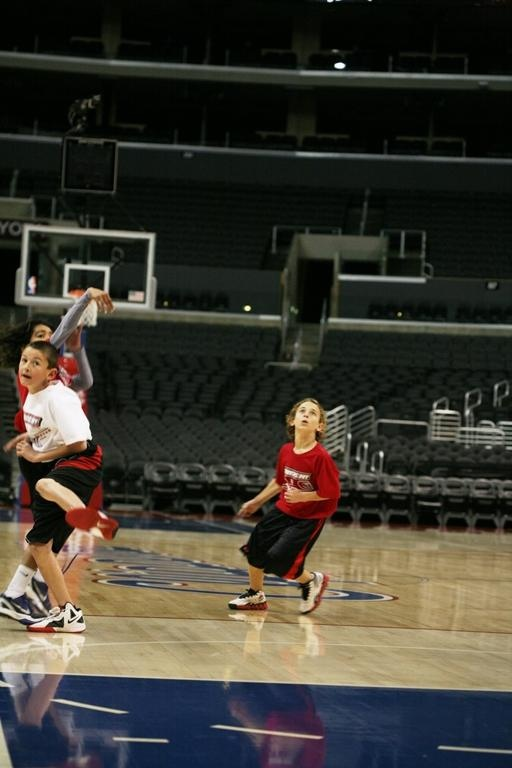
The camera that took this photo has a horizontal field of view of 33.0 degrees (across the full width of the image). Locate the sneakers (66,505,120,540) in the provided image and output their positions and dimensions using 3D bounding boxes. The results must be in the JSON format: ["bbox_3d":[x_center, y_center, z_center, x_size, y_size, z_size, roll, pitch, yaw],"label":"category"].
[{"bbox_3d":[-0.621,0.496,3.163,0.194,0.106,0.075,30,12,4],"label":"sneakers"}]

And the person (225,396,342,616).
[{"bbox_3d":[0.192,0.632,4.532,0.586,1.127,0.509,1,-11,28],"label":"person"}]
